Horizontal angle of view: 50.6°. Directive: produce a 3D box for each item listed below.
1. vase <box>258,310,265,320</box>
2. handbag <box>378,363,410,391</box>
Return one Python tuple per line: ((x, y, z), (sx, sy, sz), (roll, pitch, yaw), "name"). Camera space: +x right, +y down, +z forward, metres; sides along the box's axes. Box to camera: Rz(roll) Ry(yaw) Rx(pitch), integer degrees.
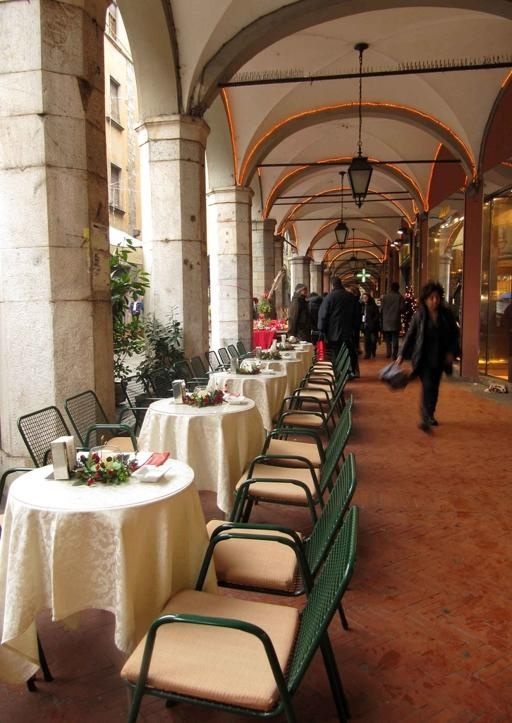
((0.133, -1.232, 14.779), (0.155, 0.183, 0.204), (2, -40, 5), "vase")
((1.561, 0.157, 6.210), (0.268, 0.138, 0.349), (20, 20, -15), "handbag")
